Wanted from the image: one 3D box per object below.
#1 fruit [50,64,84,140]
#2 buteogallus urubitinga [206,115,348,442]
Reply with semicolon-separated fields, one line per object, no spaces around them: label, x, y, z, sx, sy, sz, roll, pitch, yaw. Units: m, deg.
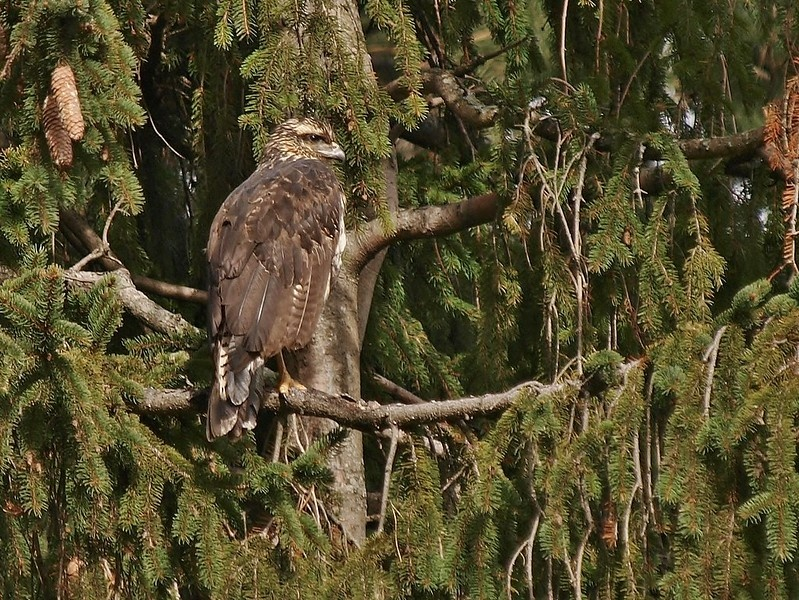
fruit;-1.664;-0.998;9.363;0.081;0.371;0.147;-12;-11;39
buteogallus urubitinga;-0.633;-0.075;10.073;0.606;1.942;0.881;-28;-38;30
